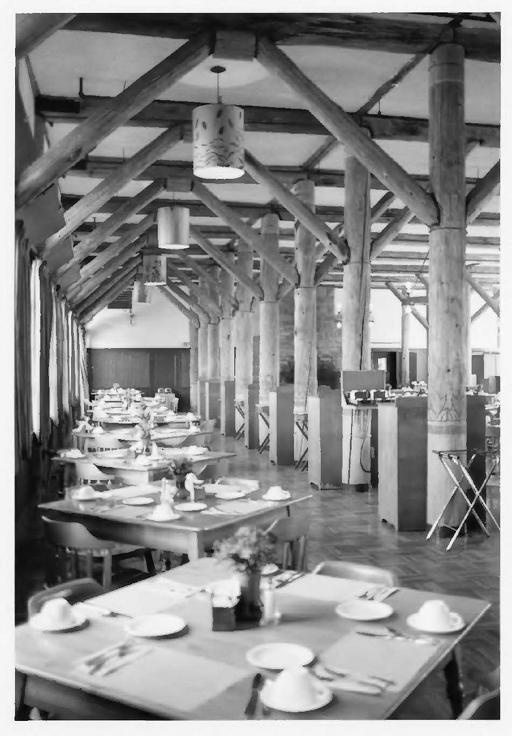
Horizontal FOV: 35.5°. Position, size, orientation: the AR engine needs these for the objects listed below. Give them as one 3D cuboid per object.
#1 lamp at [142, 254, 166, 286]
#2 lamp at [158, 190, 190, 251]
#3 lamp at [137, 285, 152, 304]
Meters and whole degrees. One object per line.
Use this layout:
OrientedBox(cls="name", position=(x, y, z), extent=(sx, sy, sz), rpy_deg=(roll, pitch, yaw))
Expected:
OrientedBox(cls="lamp", position=(-1.760, -1.689, 13.567), extent=(0.379, 0.466, 0.413), rpy_deg=(0, 0, 5))
OrientedBox(cls="lamp", position=(-1.098, -2.049, 10.597), extent=(0.410, 0.837, 0.407), rpy_deg=(28, 39, 36))
OrientedBox(cls="lamp", position=(-2.311, -1.545, 16.016), extent=(0.309, 0.419, 0.925), rpy_deg=(0, 1, -10))
